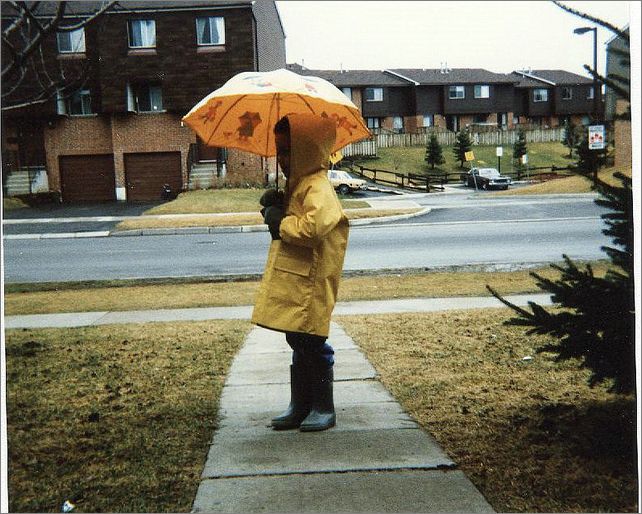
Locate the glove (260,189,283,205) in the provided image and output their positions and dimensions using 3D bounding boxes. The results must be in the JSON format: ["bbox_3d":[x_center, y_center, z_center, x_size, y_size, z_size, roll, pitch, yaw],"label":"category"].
[{"bbox_3d":[-0.394,-0.480,6.059,0.130,0.060,0.168,-2,1,-30],"label":"glove"}]

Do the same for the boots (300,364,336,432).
[{"bbox_3d":[-0.044,1.170,6.114,0.256,0.446,0.511,-3,-2,22],"label":"boots"}]

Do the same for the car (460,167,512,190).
[{"bbox_3d":[9.423,-4.429,43.209,1.754,1.016,3.675,-3,6,-19],"label":"car"}]

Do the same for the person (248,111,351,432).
[{"bbox_3d":[-0.147,0.154,5.982,0.723,2.533,0.665,1,10,13],"label":"person"}]

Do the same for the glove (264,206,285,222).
[{"bbox_3d":[-0.371,-0.324,5.870,0.157,0.125,0.124,-1,9,1],"label":"glove"}]

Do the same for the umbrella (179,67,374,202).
[{"bbox_3d":[-0.658,-1.325,7.135,1.233,0.403,1.204,-22,37,-38],"label":"umbrella"}]
